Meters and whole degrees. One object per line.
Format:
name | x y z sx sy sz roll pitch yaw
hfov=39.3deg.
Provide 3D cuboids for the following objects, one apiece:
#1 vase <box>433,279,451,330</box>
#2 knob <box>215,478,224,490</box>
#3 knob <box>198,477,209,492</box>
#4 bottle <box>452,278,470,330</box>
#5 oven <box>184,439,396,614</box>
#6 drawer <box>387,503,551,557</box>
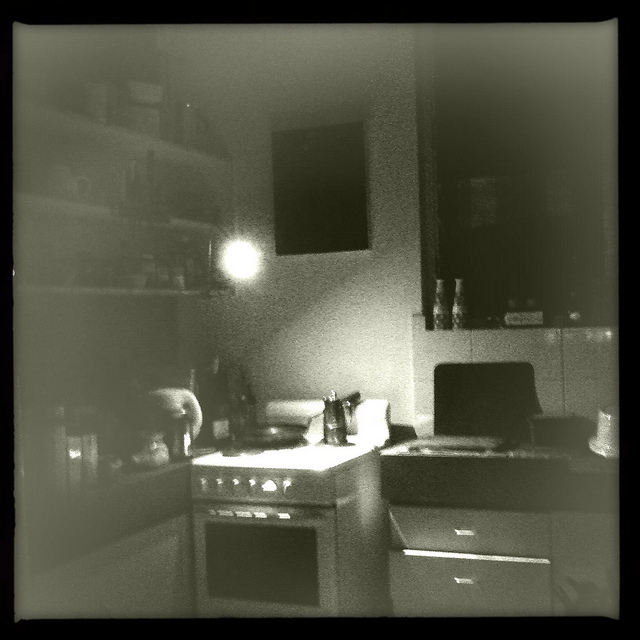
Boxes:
vase | 0.416 -0.053 3.072 0.055 0.171 0.038 -1 -2 9
knob | -0.340 0.556 3.013 0.034 0.033 0.011 0 -1 24
knob | -0.394 0.561 3.029 0.041 0.040 0.014 4 3 32
bottle | 0.480 -0.056 3.054 0.058 0.175 0.040 -1 -2 8
oven | -0.154 0.753 3.185 0.615 0.696 0.559 -2 14 -3
drawer | 0.473 0.682 2.886 0.518 0.147 0.027 -2 -2 19
